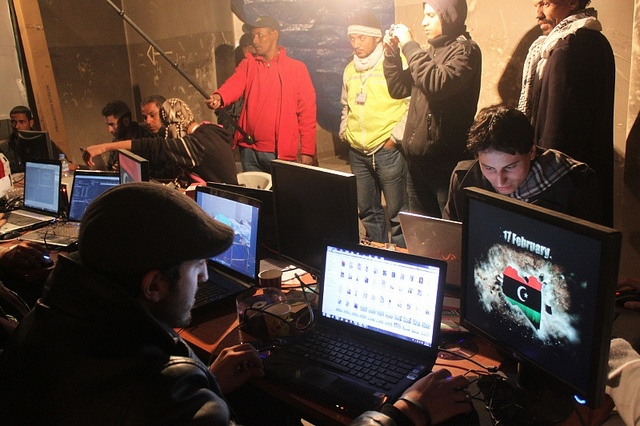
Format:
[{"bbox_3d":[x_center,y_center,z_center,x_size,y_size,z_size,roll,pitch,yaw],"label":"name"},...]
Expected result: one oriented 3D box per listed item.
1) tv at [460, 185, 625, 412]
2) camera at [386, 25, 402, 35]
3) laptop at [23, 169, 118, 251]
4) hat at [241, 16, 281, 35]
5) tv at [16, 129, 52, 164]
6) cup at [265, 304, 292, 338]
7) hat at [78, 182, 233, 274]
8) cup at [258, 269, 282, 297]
[{"bbox_3d":[0.818,0.355,1.879,0.272,0.747,0.752,-19,24,-33],"label":"tv"},{"bbox_3d":[0.554,-1.370,3.775,0.024,0.055,0.077,-10,-5,-40],"label":"camera"},{"bbox_3d":[-1.768,-0.059,3.363,0.572,0.362,0.596,7,26,-33],"label":"laptop"},{"bbox_3d":[-0.510,-1.679,4.503,0.249,0.080,0.173,5,14,5],"label":"hat"},{"bbox_3d":[-2.517,-0.524,4.385,0.387,0.376,0.116,7,17,23],"label":"tv"},{"bbox_3d":[-0.184,0.508,2.276,0.122,0.131,0.128,-5,2,0],"label":"cup"},{"bbox_3d":[-0.578,0.023,1.766,0.552,0.268,0.384,-11,15,-22],"label":"hat"},{"bbox_3d":[-0.245,0.330,2.456,0.104,0.082,0.111,1,20,0],"label":"cup"}]
